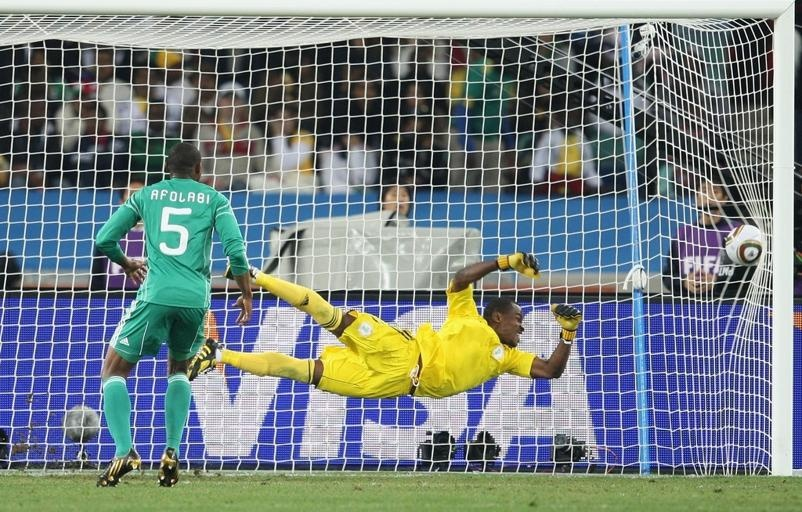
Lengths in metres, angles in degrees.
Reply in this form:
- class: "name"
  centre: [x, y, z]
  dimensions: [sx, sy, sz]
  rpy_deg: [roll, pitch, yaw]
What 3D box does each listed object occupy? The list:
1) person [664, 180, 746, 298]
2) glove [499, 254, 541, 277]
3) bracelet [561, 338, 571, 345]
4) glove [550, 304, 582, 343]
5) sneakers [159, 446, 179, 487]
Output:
- class: "person"
  centre: [2.752, -0.166, 10.235]
  dimensions: [0.797, 1.114, 0.408]
  rpy_deg: [1, -4, 5]
- class: "glove"
  centre: [0.931, 0.057, 9.027]
  dimensions: [0.317, 0.196, 0.205]
  rpy_deg: [0, -4, 9]
- class: "bracelet"
  centre: [1.329, 0.678, 9.159]
  dimensions: [0.071, 0.028, 0.048]
  rpy_deg: [8, -3, 17]
- class: "glove"
  centre: [1.370, 0.533, 9.180]
  dimensions: [0.150, 0.303, 0.252]
  rpy_deg: [-21, 45, -40]
- class: "sneakers"
  centre: [-1.650, 1.510, 8.191]
  dimensions: [0.126, 0.276, 0.135]
  rpy_deg: [5, 5, -11]
